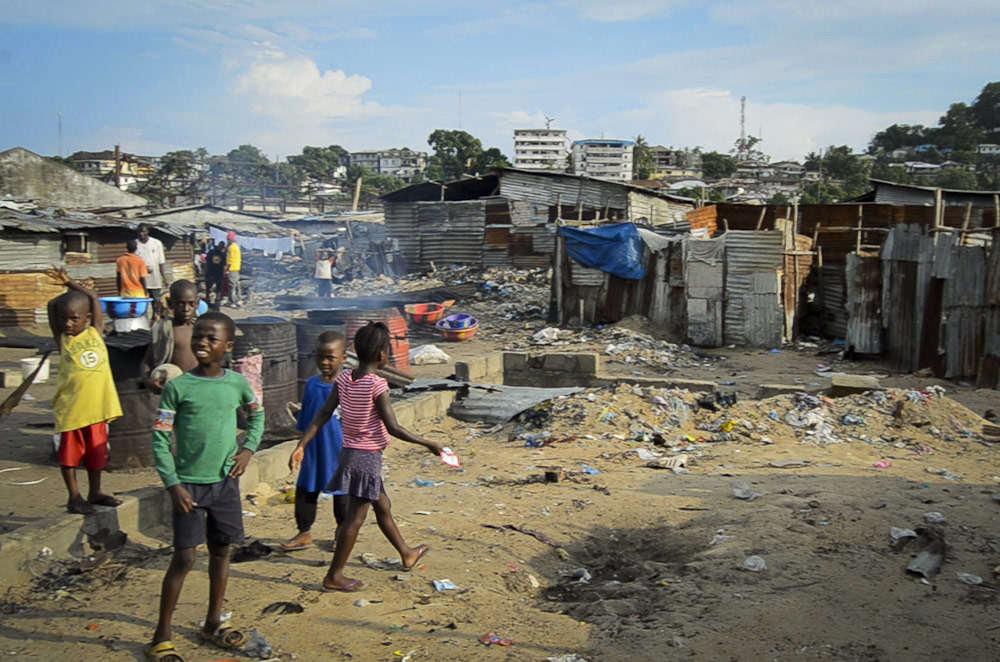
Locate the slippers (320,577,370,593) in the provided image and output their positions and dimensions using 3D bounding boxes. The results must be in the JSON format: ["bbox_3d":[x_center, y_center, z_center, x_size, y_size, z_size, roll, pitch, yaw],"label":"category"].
[{"bbox_3d":[-1.152,1.863,5.829,0.299,0.064,0.126,0,2,-8],"label":"slippers"}]

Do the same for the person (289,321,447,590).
[{"bbox_3d":[-1.008,0.915,5.967,1.099,1.956,0.710,-1,13,-6],"label":"person"}]

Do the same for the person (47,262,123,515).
[{"bbox_3d":[-3.573,0.532,6.797,0.505,2.051,1.455,-6,13,-26],"label":"person"}]

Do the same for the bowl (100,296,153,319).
[{"bbox_3d":[-5.703,-0.353,11.956,0.629,0.154,0.550,0,-4,-33],"label":"bowl"}]

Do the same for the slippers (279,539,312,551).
[{"bbox_3d":[-1.658,1.717,6.375,0.286,0.100,0.081,5,-7,-9],"label":"slippers"}]

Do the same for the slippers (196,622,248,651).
[{"bbox_3d":[-1.847,2.040,5.337,0.374,0.085,0.156,2,5,26],"label":"slippers"}]

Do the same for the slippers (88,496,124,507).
[{"bbox_3d":[-3.247,1.385,6.503,0.285,0.069,0.128,4,9,25],"label":"slippers"}]
